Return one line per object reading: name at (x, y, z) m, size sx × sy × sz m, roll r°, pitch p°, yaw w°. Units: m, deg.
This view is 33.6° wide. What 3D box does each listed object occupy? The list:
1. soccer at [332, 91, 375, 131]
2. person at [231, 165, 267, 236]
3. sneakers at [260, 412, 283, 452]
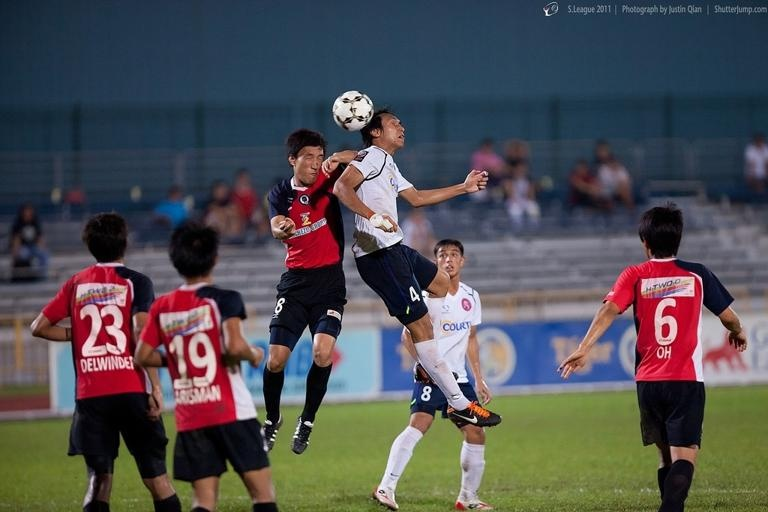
soccer at (-0.527, -2.387, 21.206) m, size 0.589 × 0.678 × 0.647 m, roll 1°, pitch 11°, yaw 21°
person at (-3.267, -1.221, 30.806) m, size 0.944 × 1.471 × 0.439 m, roll -28°, pitch 22°, yaw -25°
sneakers at (-1.923, 2.980, 21.278) m, size 0.225 × 0.727 × 0.296 m, roll 11°, pitch 1°, yaw 19°
